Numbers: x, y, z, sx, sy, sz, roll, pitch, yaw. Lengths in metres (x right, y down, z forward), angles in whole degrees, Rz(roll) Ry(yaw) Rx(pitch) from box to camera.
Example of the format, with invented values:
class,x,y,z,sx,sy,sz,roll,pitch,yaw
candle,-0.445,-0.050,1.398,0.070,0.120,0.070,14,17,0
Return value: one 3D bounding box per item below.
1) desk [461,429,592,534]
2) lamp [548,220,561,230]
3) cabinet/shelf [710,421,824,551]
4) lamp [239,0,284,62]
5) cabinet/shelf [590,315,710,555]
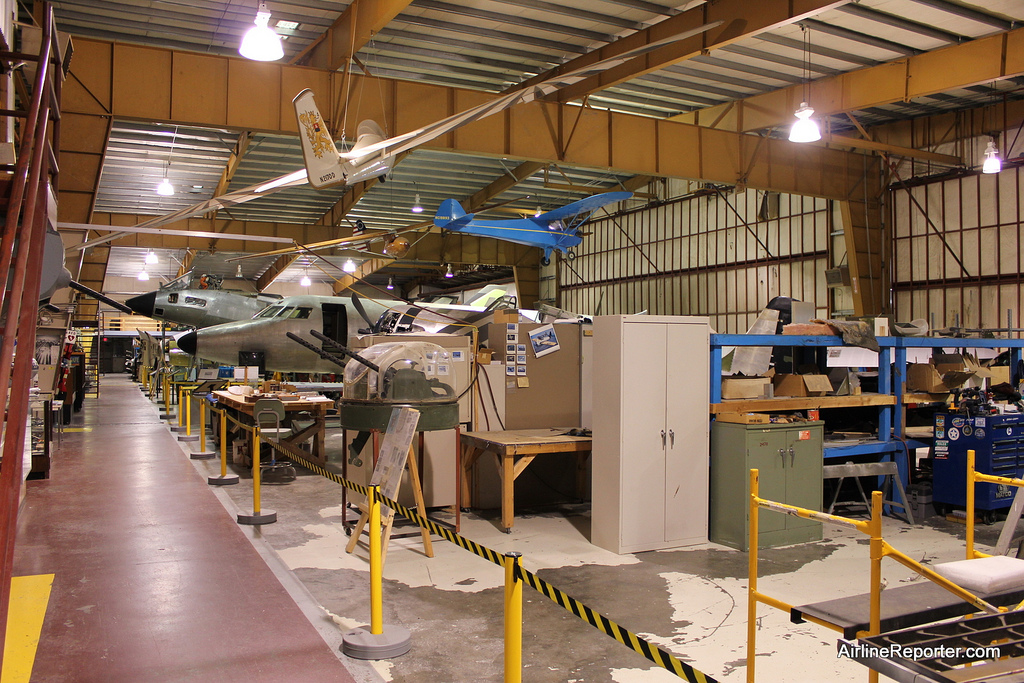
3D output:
class,x,y,z,sx,sy,sz,roll,pitch,yaw
desk,-0.016,1.523,10.978,1.833,1.011,1.255,0,2,-39
lamp,1.118,-3.086,21.835,0.079,0.256,0.283,45,7,7
cabinet/shelf,2.945,1.715,9.806,1.651,1.723,0.784,3,-1,-17
lamp,-3.500,-4.327,11.538,0.515,0.682,0.409,-2,8,-15
cabinet/shelf,1.678,1.072,9.986,1.405,2.787,0.891,1,8,1
